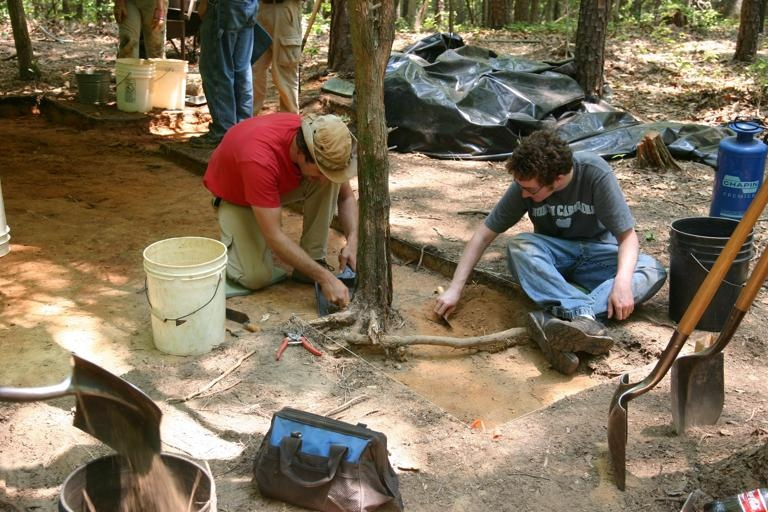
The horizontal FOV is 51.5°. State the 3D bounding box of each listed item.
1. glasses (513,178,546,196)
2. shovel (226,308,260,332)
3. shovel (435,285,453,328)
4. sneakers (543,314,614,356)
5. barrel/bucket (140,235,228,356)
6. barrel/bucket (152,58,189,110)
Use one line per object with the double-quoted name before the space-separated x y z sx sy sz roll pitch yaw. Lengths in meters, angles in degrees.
"glasses" 1.137 -0.533 6.204 0.180 0.181 0.200 -13 24 -33
"shovel" -1.152 0.525 6.424 0.274 0.063 0.155 28 25 28
"shovel" 0.480 0.410 6.806 0.124 0.059 0.381 -6 33 -8
"sneakers" 1.466 0.582 6.143 0.566 0.210 0.235 13 26 8
"barrel/bucket" -1.500 0.297 6.082 0.603 0.816 0.532 -2 21 -6
"barrel/bucket" -2.870 -2.365 10.840 0.783 0.628 0.695 -4 22 -17
